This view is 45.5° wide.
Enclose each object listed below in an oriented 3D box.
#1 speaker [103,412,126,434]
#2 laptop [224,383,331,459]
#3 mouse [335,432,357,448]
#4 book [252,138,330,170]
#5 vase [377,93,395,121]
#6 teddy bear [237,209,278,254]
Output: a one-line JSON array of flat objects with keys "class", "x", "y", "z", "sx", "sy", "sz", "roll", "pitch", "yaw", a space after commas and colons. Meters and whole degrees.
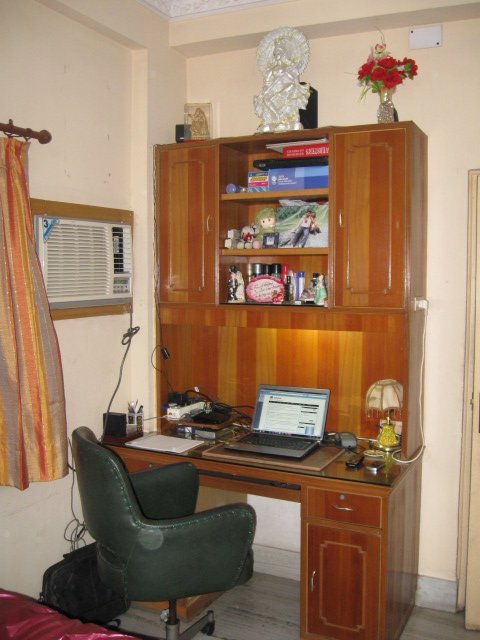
[{"class": "speaker", "x": -0.586, "y": 0.483, "z": 2.667, "sx": 0.115, "sy": 0.112, "sz": 0.060, "roll": 0, "pitch": -1, "yaw": 21}, {"class": "laptop", "x": 0.181, "y": 0.459, "z": 2.552, "sx": 0.319, "sy": 0.200, "sz": 0.310, "roll": 0, "pitch": 2, "yaw": 32}, {"class": "mouse", "x": 0.472, "y": 0.537, "z": 2.549, "sx": 0.058, "sy": 0.034, "sz": 0.100, "roll": -1, "pitch": 0, "yaw": 0}, {"class": "book", "x": 0.235, "y": -0.724, "z": 2.527, "sx": 0.375, "sy": 0.114, "sz": 0.059, "roll": 2, "pitch": 7, "yaw": 34}, {"class": "vase", "x": 0.612, "y": -0.872, "z": 2.377, "sx": 0.064, "sy": 0.150, "sz": 0.192, "roll": -1, "pitch": 6, "yaw": 14}, {"class": "teddy bear", "x": 0.085, "y": -0.411, "z": 2.690, "sx": 0.195, "sy": 0.192, "sz": 0.065, "roll": 1, "pitch": -3, "yaw": 45}]
